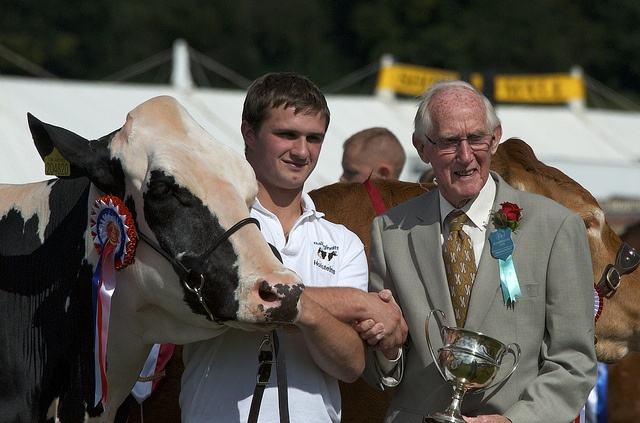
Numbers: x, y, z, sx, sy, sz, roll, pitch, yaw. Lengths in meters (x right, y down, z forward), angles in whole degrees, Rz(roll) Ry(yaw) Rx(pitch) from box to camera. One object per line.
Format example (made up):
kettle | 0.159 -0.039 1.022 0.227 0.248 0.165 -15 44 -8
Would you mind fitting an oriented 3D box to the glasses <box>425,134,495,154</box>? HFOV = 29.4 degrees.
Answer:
glasses | 1.270 -0.618 11.156 0.598 0.179 0.107 1 10 9
